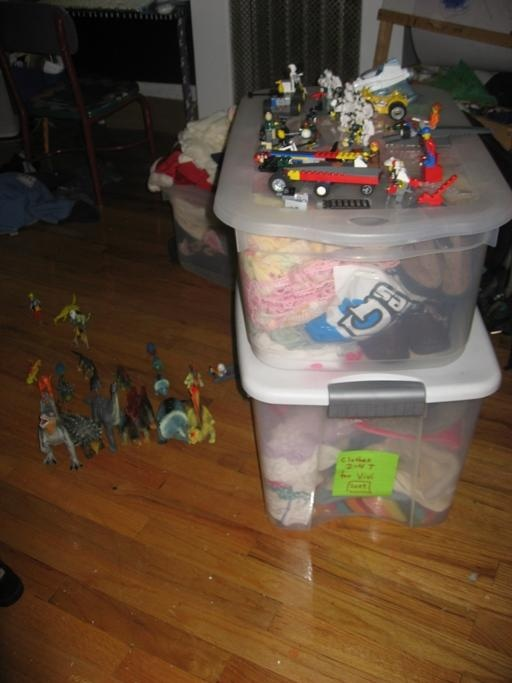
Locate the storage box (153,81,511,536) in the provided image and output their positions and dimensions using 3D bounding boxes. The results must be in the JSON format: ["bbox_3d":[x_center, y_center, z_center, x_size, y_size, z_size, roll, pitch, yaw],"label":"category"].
[{"bbox_3d":[0.149,-0.088,0.883,0.405,0.580,0.613,-3,41,-1],"label":"storage box"}]
